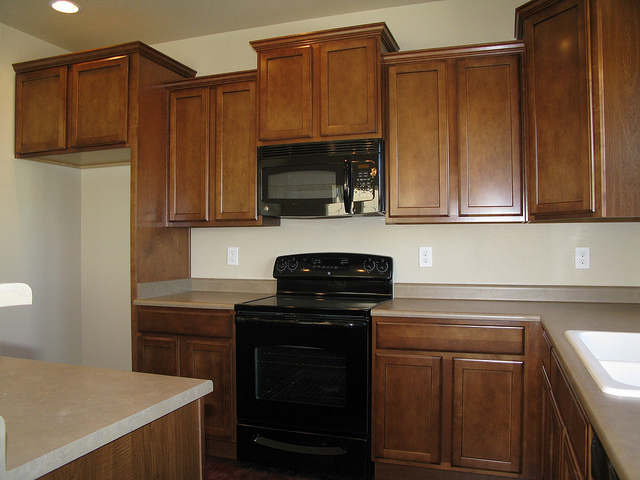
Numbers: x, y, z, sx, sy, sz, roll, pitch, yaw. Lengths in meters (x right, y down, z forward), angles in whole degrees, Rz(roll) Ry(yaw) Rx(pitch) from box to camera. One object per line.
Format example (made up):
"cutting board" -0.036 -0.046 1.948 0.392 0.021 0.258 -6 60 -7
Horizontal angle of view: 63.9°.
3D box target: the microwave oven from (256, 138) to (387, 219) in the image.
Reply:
"microwave oven" -0.003 -0.366 3.458 0.809 0.520 0.440 -2 -6 11

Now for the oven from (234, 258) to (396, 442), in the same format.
"oven" -0.005 0.700 3.347 0.961 1.214 0.895 0 1 31

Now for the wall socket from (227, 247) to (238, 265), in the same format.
"wall socket" -0.660 0.119 3.865 0.083 0.127 0.013 -1 -1 9
